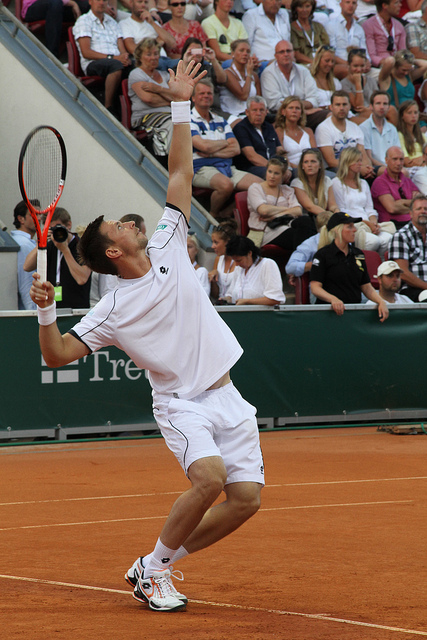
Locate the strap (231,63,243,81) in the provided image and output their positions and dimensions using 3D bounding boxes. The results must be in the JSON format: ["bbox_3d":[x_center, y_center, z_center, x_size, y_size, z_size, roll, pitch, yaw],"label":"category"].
[{"bbox_3d":[0.282,-3.160,10.372,0.042,0.170,0.175,-38,-34,2],"label":"strap"}]

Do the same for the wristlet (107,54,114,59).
[{"bbox_3d":[-1.272,-3.206,9.903,0.064,0.059,0.014,14,-33,13],"label":"wristlet"}]

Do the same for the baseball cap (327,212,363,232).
[{"bbox_3d":[1.260,-0.952,7.854,0.254,0.113,0.159,-16,2,24],"label":"baseball cap"}]

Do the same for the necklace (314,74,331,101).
[{"bbox_3d":[1.526,-3.199,11.170,0.226,0.357,0.092,-15,4,-17],"label":"necklace"}]

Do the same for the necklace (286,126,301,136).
[{"bbox_3d":[1.001,-2.313,9.952,0.197,0.137,0.073,1,-2,-44],"label":"necklace"}]

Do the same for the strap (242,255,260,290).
[{"bbox_3d":[0.378,-0.469,7.791,0.065,0.249,0.206,39,33,26],"label":"strap"}]

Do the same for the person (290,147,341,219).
[{"bbox_3d":[1.152,-1.499,9.051,0.535,0.790,0.847,-7,11,-4],"label":"person"}]

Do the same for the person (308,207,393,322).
[{"bbox_3d":[1.329,-0.508,7.997,0.768,1.047,0.468,-1,-1,-4],"label":"person"}]

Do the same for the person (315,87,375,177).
[{"bbox_3d":[1.703,-2.297,10.096,0.773,1.090,0.947,-10,20,-17],"label":"person"}]

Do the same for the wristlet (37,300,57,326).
[{"bbox_3d":[-0.617,-0.015,2.999,0.071,0.073,0.082,0,5,3],"label":"wristlet"}]

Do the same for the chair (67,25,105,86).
[{"bbox_3d":[-1.601,-3.215,10.162,0.362,0.808,0.439,12,15,31],"label":"chair"}]

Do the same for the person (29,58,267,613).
[{"bbox_3d":[-0.248,0.054,3.078,0.828,1.976,0.545,0,-1,-19],"label":"person"}]

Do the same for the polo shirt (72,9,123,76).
[{"bbox_3d":[-1.390,-3.493,10.040,0.611,0.617,0.356,-12,30,-21],"label":"polo shirt"}]

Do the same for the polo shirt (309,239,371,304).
[{"bbox_3d":[1.239,-0.511,8.071,0.487,0.619,0.563,-6,13,-38],"label":"polo shirt"}]

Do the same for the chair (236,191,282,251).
[{"bbox_3d":[0.505,-1.137,8.929,0.475,0.686,0.402,5,13,-17],"label":"chair"}]

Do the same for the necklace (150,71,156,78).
[{"bbox_3d":[-0.713,-2.882,9.558,0.016,0.067,0.071,13,5,6],"label":"necklace"}]

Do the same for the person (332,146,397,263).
[{"bbox_3d":[1.749,-1.228,9.479,0.644,1.442,0.866,-16,27,-37],"label":"person"}]

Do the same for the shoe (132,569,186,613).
[{"bbox_3d":[-0.202,0.965,2.938,0.094,0.110,0.243,7,-2,-41],"label":"shoe"}]

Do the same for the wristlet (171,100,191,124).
[{"bbox_3d":[-0.137,-0.868,3.425,0.075,0.122,0.136,-1,-2,-4],"label":"wristlet"}]

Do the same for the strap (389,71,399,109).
[{"bbox_3d":[2.722,-3.460,12.206,0.121,0.585,0.183,-1,-1,13],"label":"strap"}]

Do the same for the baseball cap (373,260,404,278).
[{"bbox_3d":[1.786,-0.534,8.389,0.173,0.113,0.220,-1,-20,-24],"label":"baseball cap"}]

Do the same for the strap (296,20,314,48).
[{"bbox_3d":[1.364,-4.224,12.011,0.264,0.431,0.167,-1,-1,0],"label":"strap"}]

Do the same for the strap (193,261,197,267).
[{"bbox_3d":[-0.197,-0.584,8.432,0.022,0.081,0.092,5,2,6],"label":"strap"}]
